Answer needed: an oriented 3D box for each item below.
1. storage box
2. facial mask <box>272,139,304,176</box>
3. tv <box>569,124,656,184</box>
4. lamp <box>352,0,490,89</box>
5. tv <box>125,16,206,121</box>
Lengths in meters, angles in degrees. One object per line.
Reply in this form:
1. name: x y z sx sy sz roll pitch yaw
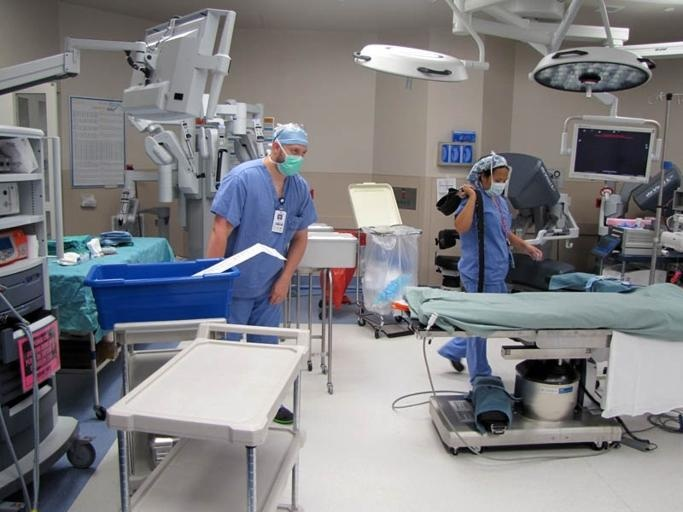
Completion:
1. storage box: -0.822 0.124 2.639 0.574 0.213 0.348 0 5 -15
2. facial mask: -0.290 -0.555 3.288 0.173 0.109 0.148 34 14 15
3. tv: 2.280 -0.884 4.948 0.783 0.595 0.084 8 10 19
4. lamp: 0.500 -1.331 3.520 0.837 0.522 0.397 -9 13 -39
5. tv: -0.874 -0.911 2.885 0.393 0.442 0.271 10 14 44
